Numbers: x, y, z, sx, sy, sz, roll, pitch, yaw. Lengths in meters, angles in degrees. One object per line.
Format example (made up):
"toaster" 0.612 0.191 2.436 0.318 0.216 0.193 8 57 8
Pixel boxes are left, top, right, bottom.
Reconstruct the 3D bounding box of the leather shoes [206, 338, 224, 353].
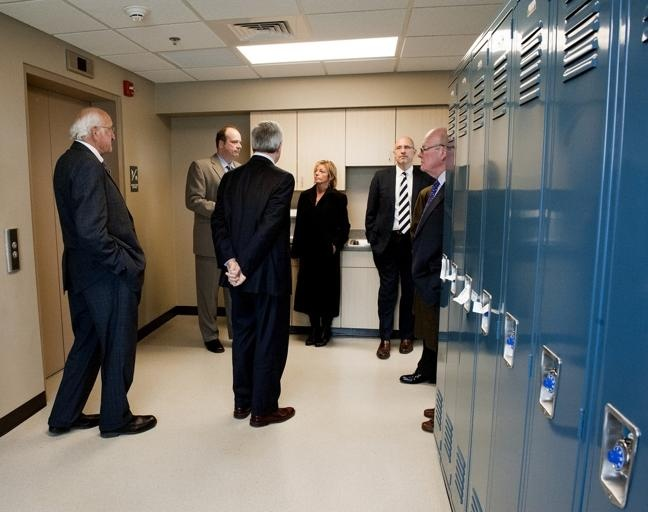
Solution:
"leather shoes" -0.920 0.765 4.154 0.077 0.081 0.178 3 -6 -34

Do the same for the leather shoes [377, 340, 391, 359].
"leather shoes" 0.493 0.769 4.014 0.101 0.128 0.319 -1 -4 8

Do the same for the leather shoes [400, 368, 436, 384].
"leather shoes" 0.659 0.833 3.487 0.263 0.146 0.106 5 -5 2

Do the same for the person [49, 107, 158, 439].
"person" -1.260 0.109 2.750 0.506 1.840 0.377 4 10 21

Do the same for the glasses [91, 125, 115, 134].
"glasses" -1.213 -0.703 2.717 0.063 0.039 0.167 1 11 6
